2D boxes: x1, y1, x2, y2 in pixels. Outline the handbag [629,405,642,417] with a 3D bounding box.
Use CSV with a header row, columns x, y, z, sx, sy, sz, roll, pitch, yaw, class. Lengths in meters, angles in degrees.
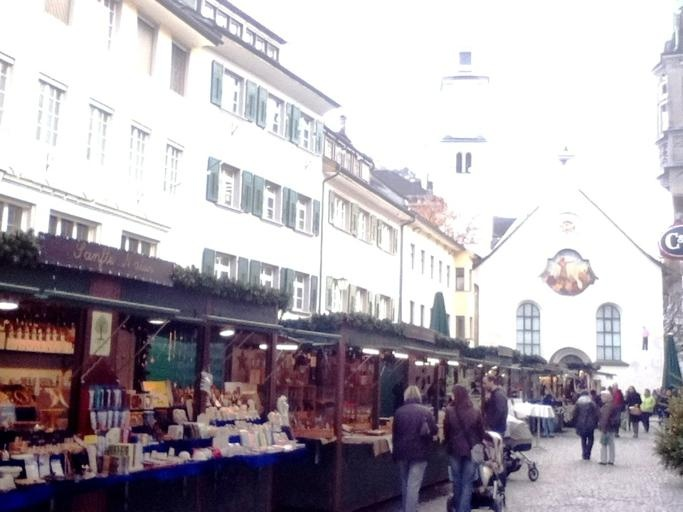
x,y,z,sx,sy,sz,roll,pitch,yaw,class
13.342,7.009,33.322,0.484,0.570,0.394,2,-4,-3,handbag
